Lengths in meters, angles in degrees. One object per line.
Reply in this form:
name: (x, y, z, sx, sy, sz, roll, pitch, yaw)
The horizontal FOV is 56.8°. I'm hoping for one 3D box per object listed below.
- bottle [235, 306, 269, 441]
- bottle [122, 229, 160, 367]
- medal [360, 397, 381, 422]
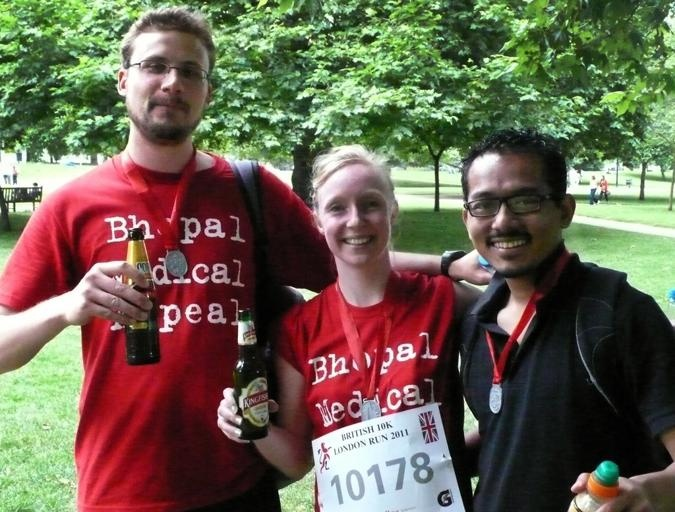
bottle: (-0.404, 0.525, 2.886, 0.156, 0.632, 0.366, -2, 13, -6)
bottle: (-0.914, 0.190, 2.863, 0.155, 0.639, 0.288, -5, 13, -20)
medal: (0.153, 0.708, 2.869, 0.109, 0.151, 0.089, -3, -18, 6)
